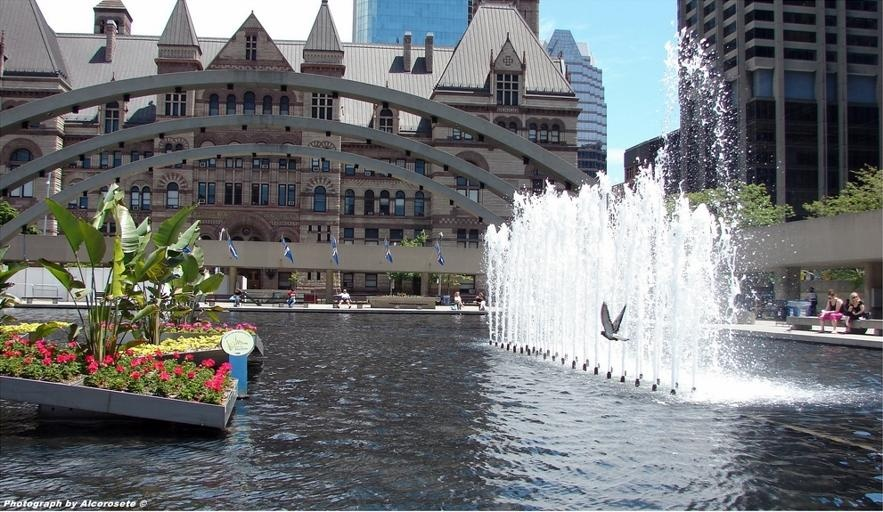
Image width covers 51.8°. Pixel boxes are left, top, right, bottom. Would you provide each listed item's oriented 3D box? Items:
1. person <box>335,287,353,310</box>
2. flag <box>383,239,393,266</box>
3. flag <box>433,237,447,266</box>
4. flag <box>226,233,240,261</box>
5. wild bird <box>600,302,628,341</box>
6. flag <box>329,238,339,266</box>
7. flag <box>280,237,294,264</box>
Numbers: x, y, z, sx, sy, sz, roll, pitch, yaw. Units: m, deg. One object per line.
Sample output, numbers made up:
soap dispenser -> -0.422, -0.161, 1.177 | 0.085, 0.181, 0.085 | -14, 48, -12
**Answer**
person -> -8.302, 3.456, 76.171 | 1.143, 1.876, 0.675 | 3, -11, 3
flag -> -4.434, -0.167, 76.203 | 0.637, 1.477, 0.840 | -3, 12, -22
flag -> -0.151, -0.076, 76.743 | 0.703, 1.773, 1.158 | 9, 13, 30
flag -> -17.681, -0.703, 76.543 | 1.332, 0.526, 4.522 | 27, -10, -11
wild bird -> 8.946, 3.389, 47.224 | 0.412, 1.507, 3.022 | 18, 23, -14
flag -> -8.874, -0.288, 75.347 | 0.724, 2.243, 1.525 | 1, 11, -2
flag -> -12.707, -0.457, 74.961 | 0.848, 2.141, 1.920 | 0, 11, -9
